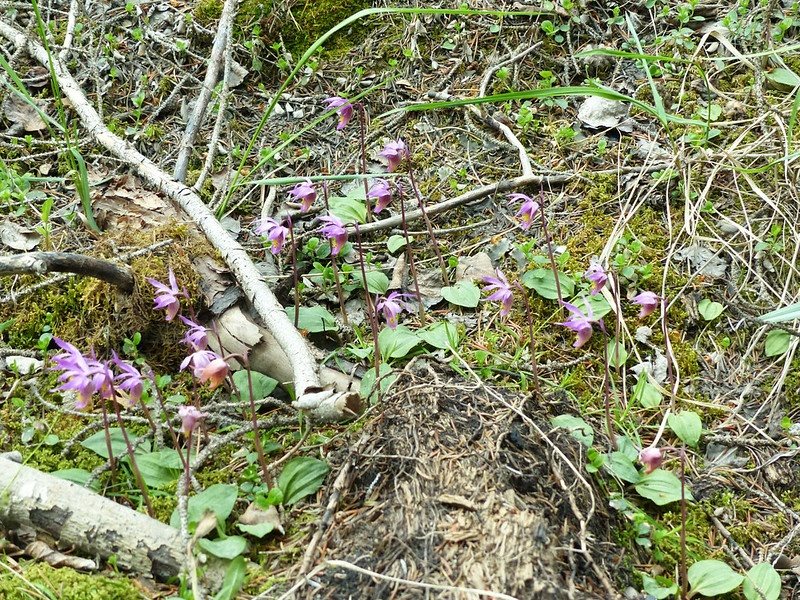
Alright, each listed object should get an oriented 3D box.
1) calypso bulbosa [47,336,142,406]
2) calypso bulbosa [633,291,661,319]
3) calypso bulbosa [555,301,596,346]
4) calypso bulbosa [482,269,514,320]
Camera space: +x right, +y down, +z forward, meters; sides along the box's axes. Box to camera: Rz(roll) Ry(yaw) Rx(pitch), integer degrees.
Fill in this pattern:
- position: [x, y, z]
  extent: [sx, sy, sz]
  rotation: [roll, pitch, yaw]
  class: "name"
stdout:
- position: [-1.743, 0.416, 4.154]
  extent: [0.377, 0.385, 0.223]
  rotation: [38, 101, 23]
  class: "calypso bulbosa"
- position: [1.383, 0.037, 4.042]
  extent: [0.165, 0.064, 0.167]
  rotation: [-32, 21, 12]
  class: "calypso bulbosa"
- position: [1.061, 0.148, 4.364]
  extent: [0.189, 0.194, 0.124]
  rotation: [-11, 46, -35]
  class: "calypso bulbosa"
- position: [0.566, -0.024, 4.335]
  extent: [0.081, 0.275, 0.276]
  rotation: [-12, 41, 39]
  class: "calypso bulbosa"
